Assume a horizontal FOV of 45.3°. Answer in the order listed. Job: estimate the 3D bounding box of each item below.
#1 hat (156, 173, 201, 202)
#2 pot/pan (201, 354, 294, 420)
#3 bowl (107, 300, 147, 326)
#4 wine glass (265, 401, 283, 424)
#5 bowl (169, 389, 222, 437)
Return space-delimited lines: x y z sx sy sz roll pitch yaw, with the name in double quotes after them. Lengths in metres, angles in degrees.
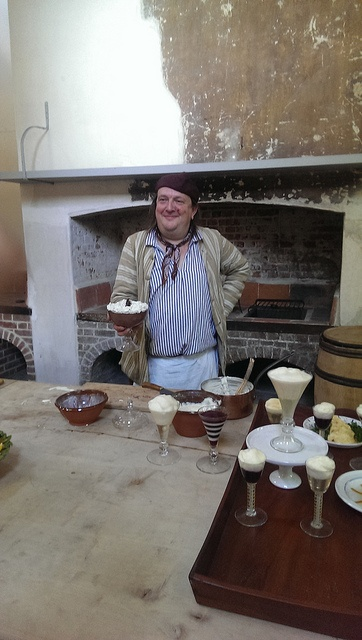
-0.013 -0.613 2.011 0.209 0.148 0.173 -6 10 -19 "hat"
0.243 0.233 1.603 0.314 0.288 0.170 4 12 19 "pot/pan"
-0.201 -0.024 1.660 0.107 0.084 0.113 2 8 0 "bowl"
0.274 0.273 1.306 0.054 0.089 0.061 -2 1 2 "wine glass"
0.047 0.288 1.437 0.133 0.101 0.141 0 6 0 "bowl"
